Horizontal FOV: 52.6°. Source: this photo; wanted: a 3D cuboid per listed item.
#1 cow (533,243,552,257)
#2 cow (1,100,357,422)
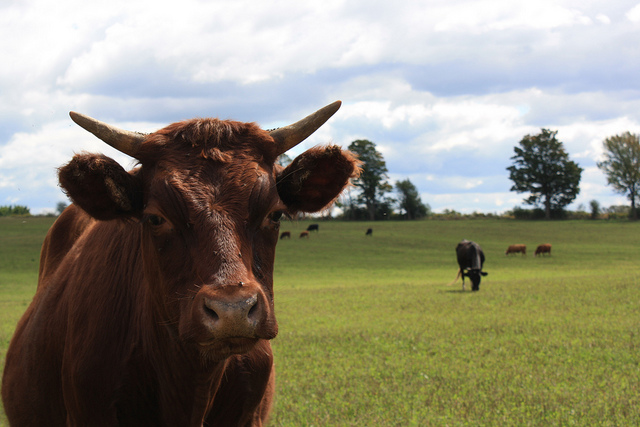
[{"bbox_3d":[5.565,0.901,16.206,0.460,0.351,0.220,-3,-1,17],"label":"cow"},{"bbox_3d":[-2.181,0.837,9.275,4.899,3.750,1.569,-3,-1,15],"label":"cow"}]
